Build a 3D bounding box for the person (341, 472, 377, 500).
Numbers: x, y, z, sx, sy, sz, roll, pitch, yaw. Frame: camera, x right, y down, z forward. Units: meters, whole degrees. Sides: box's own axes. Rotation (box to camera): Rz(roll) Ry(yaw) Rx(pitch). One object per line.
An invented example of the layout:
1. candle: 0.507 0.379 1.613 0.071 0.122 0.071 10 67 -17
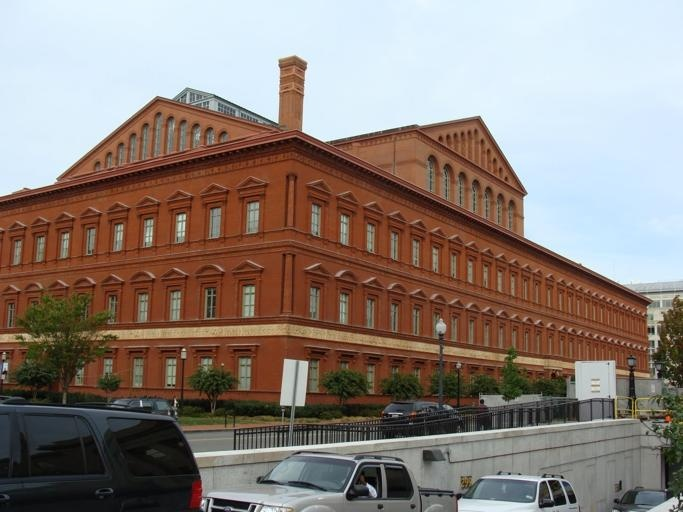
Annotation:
1. person: 0.386 4.113 12.867 0.321 0.462 0.935 -7 -15 17
